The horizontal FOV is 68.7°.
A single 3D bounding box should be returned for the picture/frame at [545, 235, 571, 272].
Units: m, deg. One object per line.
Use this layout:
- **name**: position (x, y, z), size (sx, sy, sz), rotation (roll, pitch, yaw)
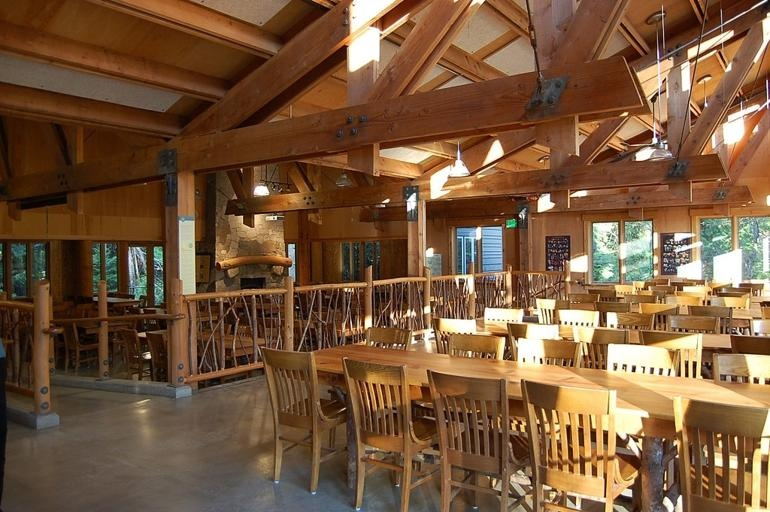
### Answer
- **picture/frame**: position (4.607, -0.075, 14.851), size (0.909, 1.281, 0.097), rotation (6, 8, 41)
